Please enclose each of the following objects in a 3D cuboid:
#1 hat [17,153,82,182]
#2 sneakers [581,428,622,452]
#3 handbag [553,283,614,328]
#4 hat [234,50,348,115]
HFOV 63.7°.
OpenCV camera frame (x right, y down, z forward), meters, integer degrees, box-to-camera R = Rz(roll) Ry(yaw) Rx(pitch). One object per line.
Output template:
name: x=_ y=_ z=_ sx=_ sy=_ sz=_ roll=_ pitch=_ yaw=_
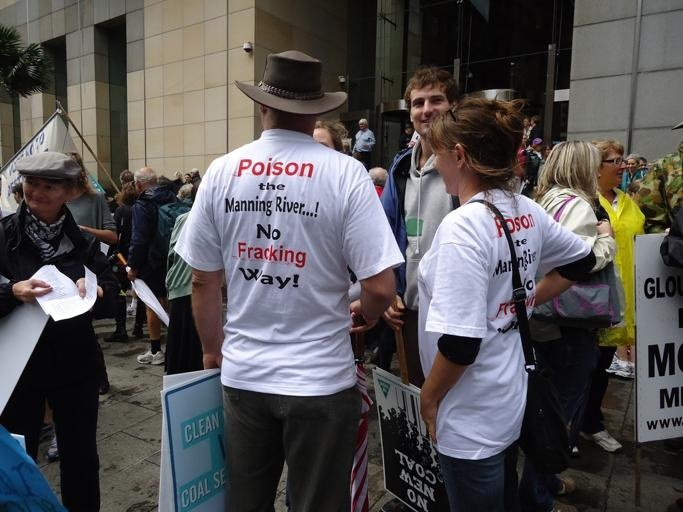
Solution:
hat: x=-1.753 y=-0.550 z=3.319 sx=0.242 sy=0.094 sz=0.210 roll=-10 pitch=19 yaw=-44
sneakers: x=2.094 y=1.476 z=4.475 sx=0.103 sy=0.134 sz=0.305 roll=-7 pitch=13 yaw=-43
handbag: x=1.545 y=0.313 z=3.537 sx=0.264 sy=0.266 sz=0.113 roll=2 pitch=6 yaw=10
hat: x=-0.265 y=-0.962 z=2.936 sx=0.567 sy=0.277 sz=0.696 roll=0 pitch=20 yaw=-17
